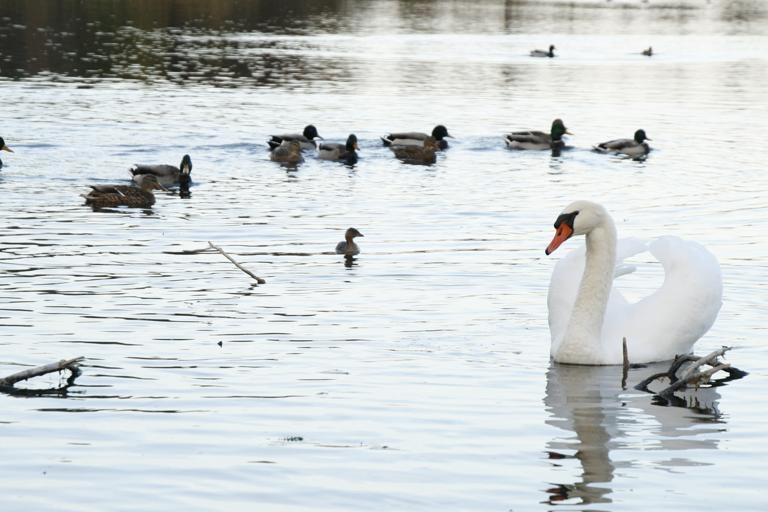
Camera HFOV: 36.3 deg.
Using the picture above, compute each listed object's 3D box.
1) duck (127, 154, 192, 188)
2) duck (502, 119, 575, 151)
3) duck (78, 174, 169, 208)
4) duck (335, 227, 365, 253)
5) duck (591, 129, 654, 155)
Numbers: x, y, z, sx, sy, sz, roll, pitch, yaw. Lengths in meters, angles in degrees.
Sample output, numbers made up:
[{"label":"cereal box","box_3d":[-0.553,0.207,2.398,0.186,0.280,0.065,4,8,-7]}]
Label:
[{"label":"duck","box_3d":[-6.392,-2.542,34.499,2.135,1.009,0.827,4,43,-8]},{"label":"duck","box_3d":[5.469,-4.260,41.194,2.354,1.102,1.218,-5,11,-37]},{"label":"duck","box_3d":[-6.951,-1.752,31.942,2.426,0.902,0.871,0,22,-27]},{"label":"duck","box_3d":[-0.772,-0.342,26.560,0.490,0.590,0.624,9,12,38]},{"label":"duck","box_3d":[8.302,-3.848,40.054,2.133,0.886,0.881,-2,24,-7]}]
